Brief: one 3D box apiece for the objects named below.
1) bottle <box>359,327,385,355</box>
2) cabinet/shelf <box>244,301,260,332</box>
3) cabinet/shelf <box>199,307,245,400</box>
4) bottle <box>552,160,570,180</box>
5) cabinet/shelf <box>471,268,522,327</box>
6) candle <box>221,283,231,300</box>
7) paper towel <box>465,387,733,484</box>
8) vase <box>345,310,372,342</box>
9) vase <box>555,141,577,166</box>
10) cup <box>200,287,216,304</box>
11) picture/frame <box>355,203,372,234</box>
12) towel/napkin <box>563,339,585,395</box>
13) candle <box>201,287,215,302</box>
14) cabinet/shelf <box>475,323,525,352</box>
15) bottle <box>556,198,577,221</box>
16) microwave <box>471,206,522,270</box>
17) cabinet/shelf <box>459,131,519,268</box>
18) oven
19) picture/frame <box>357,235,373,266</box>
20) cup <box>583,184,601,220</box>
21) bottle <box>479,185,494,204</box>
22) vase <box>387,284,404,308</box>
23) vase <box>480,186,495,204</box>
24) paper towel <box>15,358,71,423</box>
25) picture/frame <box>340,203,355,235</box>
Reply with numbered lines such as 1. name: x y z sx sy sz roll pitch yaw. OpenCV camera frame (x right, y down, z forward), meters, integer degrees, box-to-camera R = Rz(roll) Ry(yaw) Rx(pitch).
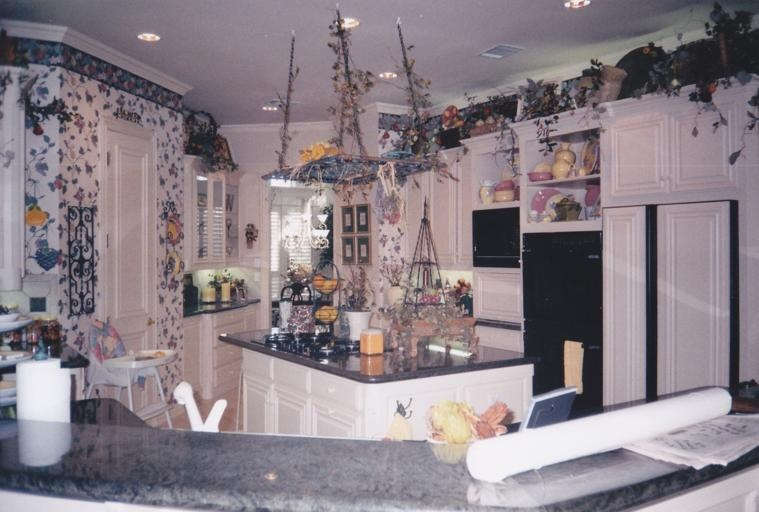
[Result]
1. bottle: -0.056 0.624 4.402 0.162 0.157 0.163 0 -3 -3
2. cabinet/shelf: -1.714 0.807 8.083 0.214 0.376 0.397 -1 -1 21
3. cabinet/shelf: -1.995 1.201 7.562 0.269 1.045 0.917 1 6 7
4. bottle: 1.694 -0.825 5.746 0.174 0.205 0.177 -3 2 5
5. cabinet/shelf: 1.289 0.426 6.321 0.584 0.557 0.333 2 -1 23
6. candle: -2.061 0.473 8.214 0.093 0.245 0.215 2 6 16
7. paper towel: 0.993 0.824 2.720 1.351 0.218 0.277 -12 -12 -14
8. vase: -0.174 0.563 4.802 0.215 0.220 0.208 -1 -4 40
9. vase: 1.750 -0.997 5.808 0.235 0.284 0.225 -1 -9 10
10. cup: -2.262 0.524 8.029 0.192 0.206 0.193 1 -1 0
11. picture/frame: -0.191 -0.479 7.553 0.044 0.546 0.390 -1 1 -39
12. towel/napkin: 1.731 0.986 5.391 0.055 0.452 0.204 -6 7 -30
13. candle: -2.269 0.504 8.048 0.181 0.189 0.232 -2 6 -17
14. cabinet/shelf: 1.175 0.782 5.810 0.134 0.199 0.415 1 0 -35
15. bottle: 1.723 -0.442 5.647 0.177 0.205 0.177 -4 -4 35
16. microwave: 1.254 -0.190 6.326 0.645 0.611 0.335 -2 2 -9
17. cabinet/shelf: 1.232 -0.397 6.276 0.625 1.121 0.326 3 10 28
18. oven: 1.657 0.658 5.709 0.821 1.867 0.650 6 -21 -3
19. picture/frame: -0.198 -0.079 7.531 0.044 0.359 0.271 -5 8 -43
20. cup: 1.974 -0.515 5.583 0.104 0.293 0.233 7 -15 11
21. bottle: 1.119 -0.654 6.354 0.173 0.201 0.174 0 -5 -2
22. vase: 0.196 0.450 7.034 0.209 0.297 0.209 -2 3 -21
23. vase: 1.117 -0.646 6.364 0.174 0.212 0.174 0 -7 -3
24. paper towel: -1.593 0.643 2.864 0.233 0.321 0.114 -2 6 -23
25. picture/frame: -0.408 -0.485 7.799 0.037 0.485 0.399 -3 5 -34
